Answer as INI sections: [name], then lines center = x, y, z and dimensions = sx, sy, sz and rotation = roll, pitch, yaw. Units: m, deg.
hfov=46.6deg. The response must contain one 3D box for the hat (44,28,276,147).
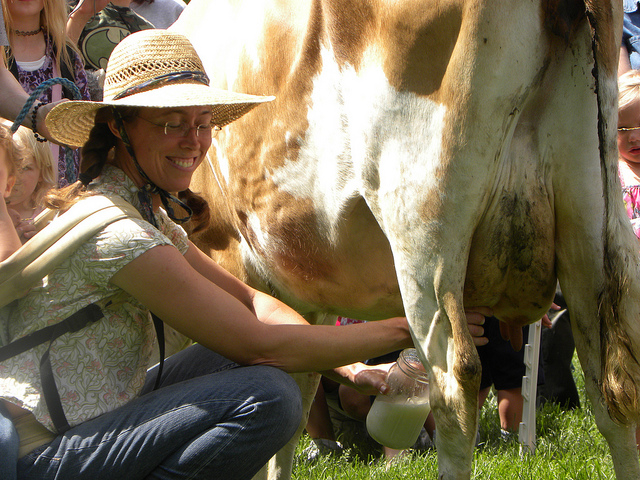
[hat]
center = -0.615, -0.625, 2.920
dimensions = 0.787, 0.367, 0.831
rotation = -2, 4, 22

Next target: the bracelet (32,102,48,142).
[bracelet]
center = -1.166, -0.492, 3.139
dimensions = 0.033, 0.148, 0.110
rotation = -2, 8, -1

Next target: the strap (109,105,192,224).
[strap]
center = -0.610, -0.236, 2.927
dimensions = 0.169, 0.103, 0.599
rotation = 6, -45, 50

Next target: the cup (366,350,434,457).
[cup]
center = 0.346, 0.660, 3.095
dimensions = 0.223, 0.389, 0.239
rotation = 17, 17, -5

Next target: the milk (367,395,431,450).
[milk]
center = 0.319, 0.757, 3.093
dimensions = 0.197, 0.234, 0.208
rotation = 4, -14, 45

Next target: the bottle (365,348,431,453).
[bottle]
center = 0.308, 0.737, 3.133
dimensions = 0.258, 0.467, 0.284
rotation = -9, -23, 16

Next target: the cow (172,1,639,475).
[cow]
center = 0.311, -0.094, 2.985
dimensions = 0.799, 1.547, 1.846
rotation = 9, -1, -43
